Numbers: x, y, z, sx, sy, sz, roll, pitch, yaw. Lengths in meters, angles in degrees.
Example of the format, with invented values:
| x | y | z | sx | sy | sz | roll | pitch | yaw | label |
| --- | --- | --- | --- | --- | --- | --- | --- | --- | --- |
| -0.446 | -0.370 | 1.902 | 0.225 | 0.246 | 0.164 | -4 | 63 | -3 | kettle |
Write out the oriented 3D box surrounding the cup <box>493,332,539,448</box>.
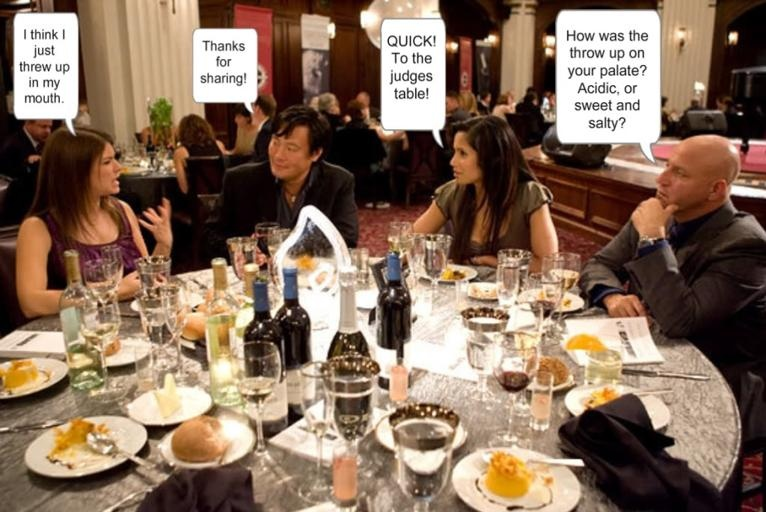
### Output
| x | y | z | sx | sy | sz | roll | pitch | yaw | label |
| --- | --- | --- | --- | --- | --- | --- | --- | --- | --- |
| 0.403 | 0.417 | 1.689 | 0.130 | 0.303 | 0.133 | 0 | 8 | 0 | cup |

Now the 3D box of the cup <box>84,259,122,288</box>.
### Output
| x | y | z | sx | sy | sz | roll | pitch | yaw | label |
| --- | --- | --- | --- | --- | --- | --- | --- | --- | --- |
| -1.097 | 0.049 | 2.129 | 0.114 | 0.135 | 0.115 | 3 | 9 | 0 | cup |

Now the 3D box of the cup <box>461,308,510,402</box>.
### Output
| x | y | z | sx | sy | sz | roll | pitch | yaw | label |
| --- | --- | --- | --- | --- | --- | --- | --- | --- | --- |
| 0.339 | 0.340 | 1.784 | 0.167 | 0.266 | 0.160 | 2 | 6 | 0 | cup |

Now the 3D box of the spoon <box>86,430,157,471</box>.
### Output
| x | y | z | sx | sy | sz | roll | pitch | yaw | label |
| --- | --- | --- | --- | --- | --- | --- | --- | --- | --- |
| -0.737 | 0.554 | 1.542 | 0.222 | 0.072 | 0.046 | 5 | 19 | 18 | spoon |

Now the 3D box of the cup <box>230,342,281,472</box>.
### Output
| x | y | z | sx | sy | sz | roll | pitch | yaw | label |
| --- | --- | --- | --- | --- | --- | --- | --- | --- | --- |
| -0.347 | 0.415 | 1.552 | 0.131 | 0.315 | 0.195 | -5 | 18 | -12 | cup |

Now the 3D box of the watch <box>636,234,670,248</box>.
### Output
| x | y | z | sx | sy | sz | roll | pitch | yaw | label |
| --- | --- | --- | --- | --- | --- | --- | --- | --- | --- |
| 1.200 | -0.065 | 2.424 | 0.085 | 0.065 | 0.098 | 5 | 3 | 6 | watch |

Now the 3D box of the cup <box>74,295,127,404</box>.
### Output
| x | y | z | sx | sy | sz | roll | pitch | yaw | label |
| --- | --- | --- | --- | --- | --- | --- | --- | --- | --- |
| -0.951 | 0.293 | 1.845 | 0.132 | 0.334 | 0.131 | 5 | 17 | -1 | cup |

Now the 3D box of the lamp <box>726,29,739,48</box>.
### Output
| x | y | z | sx | sy | sz | roll | pitch | yaw | label |
| --- | --- | --- | --- | --- | --- | --- | --- | --- | --- |
| 9.943 | -6.260 | 15.598 | 0.259 | 0.392 | 0.580 | 8 | 20 | 26 | lamp |

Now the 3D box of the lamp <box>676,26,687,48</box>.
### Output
| x | y | z | sx | sy | sz | roll | pitch | yaw | label |
| --- | --- | --- | --- | --- | --- | --- | --- | --- | --- |
| 7.437 | -5.487 | 13.632 | 0.280 | 0.456 | 0.082 | -6 | 18 | -14 | lamp |

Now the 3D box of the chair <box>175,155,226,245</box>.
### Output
| x | y | z | sx | sy | sz | roll | pitch | yaw | label |
| --- | --- | --- | --- | --- | --- | --- | --- | --- | --- |
| -1.753 | -0.550 | 5.224 | 0.494 | 0.784 | 0.486 | -1 | 18 | 0 | chair |

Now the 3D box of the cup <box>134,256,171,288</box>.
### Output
| x | y | z | sx | sy | sz | roll | pitch | yaw | label |
| --- | --- | --- | --- | --- | --- | --- | --- | --- | --- |
| -0.932 | 0.060 | 2.221 | 0.143 | 0.133 | 0.156 | 5 | 20 | -2 | cup |

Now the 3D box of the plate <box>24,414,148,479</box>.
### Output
| x | y | z | sx | sy | sz | roll | pitch | yaw | label |
| --- | --- | --- | --- | --- | --- | --- | --- | --- | --- |
| -0.840 | 0.553 | 1.553 | 0.188 | 0.027 | 0.189 | 21 | 30 | 41 | plate |

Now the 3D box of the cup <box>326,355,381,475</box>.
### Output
| x | y | z | sx | sy | sz | roll | pitch | yaw | label |
| --- | --- | --- | --- | --- | --- | --- | --- | --- | --- |
| -0.076 | 0.429 | 1.490 | 0.139 | 0.324 | 0.249 | -2 | 18 | -2 | cup |

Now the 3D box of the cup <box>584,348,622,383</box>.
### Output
| x | y | z | sx | sy | sz | roll | pitch | yaw | label |
| --- | --- | --- | --- | --- | --- | --- | --- | --- | --- |
| 0.763 | 0.386 | 1.887 | 0.099 | 0.111 | 0.114 | 1 | 6 | -2 | cup |

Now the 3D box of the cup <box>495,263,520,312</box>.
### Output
| x | y | z | sx | sy | sz | roll | pitch | yaw | label |
| --- | --- | --- | --- | --- | --- | --- | --- | --- | --- |
| 0.509 | 0.115 | 2.230 | 0.106 | 0.193 | 0.109 | 3 | 6 | 0 | cup |

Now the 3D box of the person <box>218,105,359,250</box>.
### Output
| x | y | z | sx | sy | sz | roll | pitch | yaw | label |
| --- | --- | --- | --- | --- | --- | --- | --- | --- | --- |
| -0.609 | -0.429 | 3.436 | 0.918 | 0.963 | 0.653 | 3 | 16 | -3 | person |

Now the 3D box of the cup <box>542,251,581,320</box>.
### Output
| x | y | z | sx | sy | sz | roll | pitch | yaw | label |
| --- | --- | --- | --- | --- | --- | --- | --- | --- | --- |
| 0.753 | 0.115 | 2.336 | 0.200 | 0.265 | 0.229 | -7 | 14 | 24 | cup |

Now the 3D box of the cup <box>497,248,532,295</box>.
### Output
| x | y | z | sx | sy | sz | roll | pitch | yaw | label |
| --- | --- | --- | --- | --- | --- | --- | --- | --- | --- |
| 0.605 | 0.094 | 2.540 | 0.170 | 0.219 | 0.161 | 3 | -1 | 0 | cup |

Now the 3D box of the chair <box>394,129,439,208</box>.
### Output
| x | y | z | sx | sy | sz | roll | pitch | yaw | label |
| --- | --- | --- | --- | --- | --- | --- | --- | --- | --- |
| 0.566 | -1.416 | 8.571 | 0.735 | 1.223 | 0.821 | 3 | 17 | 9 | chair |
